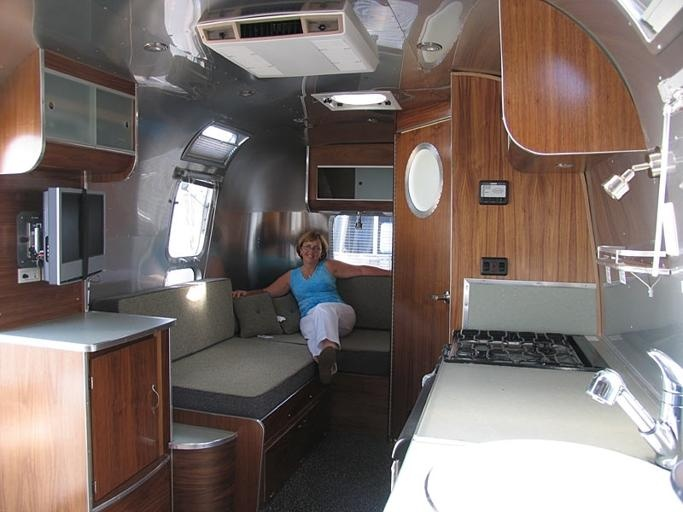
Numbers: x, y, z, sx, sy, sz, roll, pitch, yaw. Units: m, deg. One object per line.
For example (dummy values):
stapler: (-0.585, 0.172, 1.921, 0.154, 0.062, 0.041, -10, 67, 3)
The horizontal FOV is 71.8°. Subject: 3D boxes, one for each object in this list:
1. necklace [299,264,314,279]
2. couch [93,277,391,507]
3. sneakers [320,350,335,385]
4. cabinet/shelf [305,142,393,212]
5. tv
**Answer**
necklace: (-0.358, 0.142, 4.734, 0.105, 0.157, 0.077, 5, -1, -1)
couch: (-0.702, 0.866, 3.406, 1.221, 1.061, 1.929, 0, 4, 11)
sneakers: (-0.120, 0.855, 3.712, 0.108, 0.275, 0.109, 3, -5, -3)
cabinet/shelf: (0.044, -0.825, 4.828, 1.022, 0.765, 0.613, 3, 9, 16)
tv: (-1.468, -0.117, 2.542, 0.106, 0.582, 0.534, 2, 3, 13)
